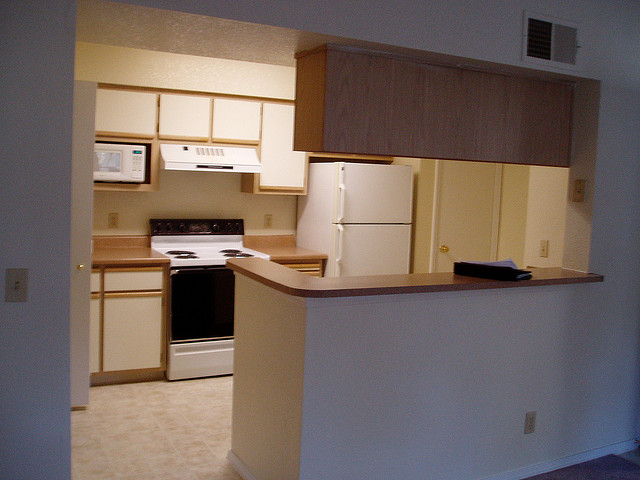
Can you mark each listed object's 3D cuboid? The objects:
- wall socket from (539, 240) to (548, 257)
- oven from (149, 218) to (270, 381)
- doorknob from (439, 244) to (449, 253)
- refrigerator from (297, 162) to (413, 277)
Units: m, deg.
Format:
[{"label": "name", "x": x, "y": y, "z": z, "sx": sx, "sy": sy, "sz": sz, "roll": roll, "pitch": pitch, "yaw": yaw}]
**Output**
[{"label": "wall socket", "x": 1.646, "y": 0.064, "z": 3.891, "sx": 0.005, "sy": 0.133, "sz": 0.071, "roll": -4, "pitch": 11, "yaw": -31}, {"label": "oven", "x": -1.141, "y": 0.483, "z": 4.988, "sx": 1.079, "sy": 1.444, "sz": 0.909, "roll": 0, "pitch": 8, "yaw": -30}, {"label": "doorknob", "x": 1.199, "y": 0.091, "z": 5.122, "sx": 0.025, "sy": 0.083, "sz": 0.129, "roll": -3, "pitch": 11, "yaw": -25}, {"label": "refrigerator", "x": 0.297, "y": -0.195, "z": 5.243, "sx": 0.963, "sy": 1.121, "sz": 0.686, "roll": -3, "pitch": 9, "yaw": -28}]
